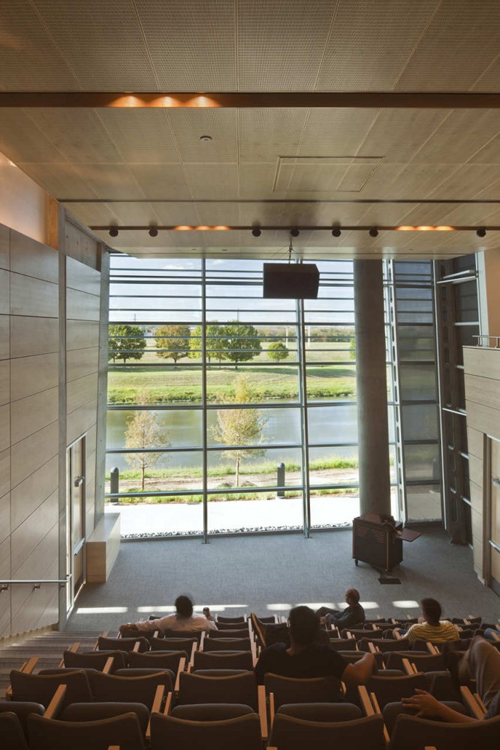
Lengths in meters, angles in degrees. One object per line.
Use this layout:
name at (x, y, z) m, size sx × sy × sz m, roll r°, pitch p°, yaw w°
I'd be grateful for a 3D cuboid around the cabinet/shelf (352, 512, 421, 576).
cabinet/shelf at (2.407, 3.210, 10.474) m, size 1.272 × 1.139 × 0.843 m, roll 0°, pitch 3°, yaw -11°

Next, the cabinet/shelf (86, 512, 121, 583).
cabinet/shelf at (-2.801, 3.325, 10.485) m, size 0.372 × 0.783 × 1.460 m, roll -1°, pitch 2°, yaw -2°

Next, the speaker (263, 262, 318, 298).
speaker at (0.560, -1.421, 8.042) m, size 0.903 × 0.581 × 0.463 m, roll 0°, pitch 24°, yaw -2°
